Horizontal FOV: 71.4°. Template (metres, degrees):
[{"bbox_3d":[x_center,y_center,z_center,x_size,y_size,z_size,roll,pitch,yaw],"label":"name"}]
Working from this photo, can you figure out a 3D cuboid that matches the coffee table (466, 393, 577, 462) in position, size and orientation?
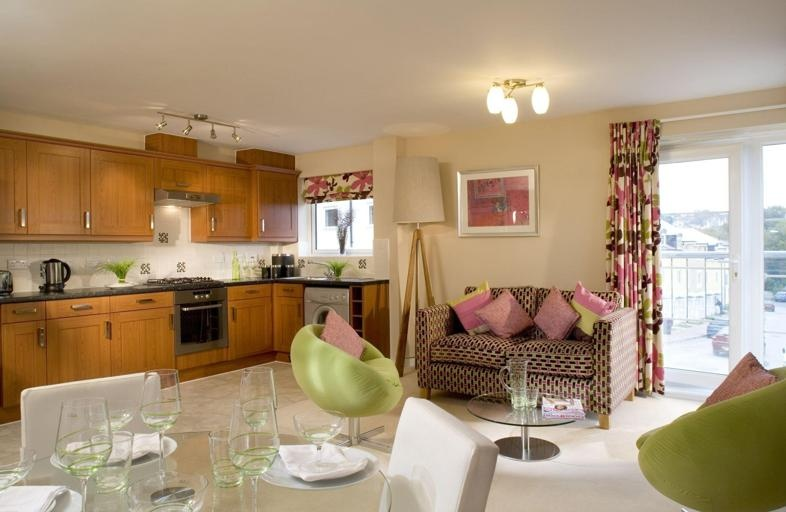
[{"bbox_3d":[1.000,1.404,4.386,0.852,0.316,0.855,2,5,34],"label":"coffee table"}]

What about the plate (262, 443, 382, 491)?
[{"bbox_3d":[-0.345,1.018,2.647,0.449,0.436,0.043,-8,44,-10],"label":"plate"}]

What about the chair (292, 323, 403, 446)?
[{"bbox_3d":[-0.412,1.162,4.869,1.069,1.024,1.101,-2,1,11],"label":"chair"}]

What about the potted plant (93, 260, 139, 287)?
[{"bbox_3d":[-3.253,0.164,6.460,0.368,0.244,0.337,-3,5,-37],"label":"potted plant"}]

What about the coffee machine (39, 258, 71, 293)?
[{"bbox_3d":[-3.676,0.208,5.944,0.293,0.345,0.293,-6,10,-31],"label":"coffee machine"}]

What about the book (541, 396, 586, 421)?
[{"bbox_3d":[1.322,1.179,4.318,0.312,0.080,0.480,1,8,13],"label":"book"}]

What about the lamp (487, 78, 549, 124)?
[{"bbox_3d":[1.156,-1.491,5.131,0.560,0.299,0.451,1,14,6],"label":"lamp"}]

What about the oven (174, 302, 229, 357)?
[{"bbox_3d":[-2.494,0.856,6.693,0.538,0.598,0.725,-8,-6,31],"label":"oven"}]

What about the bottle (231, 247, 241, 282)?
[{"bbox_3d":[-2.177,0.115,7.528,0.134,0.389,0.382,-4,9,-15],"label":"bottle"}]

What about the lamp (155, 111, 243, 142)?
[{"bbox_3d":[-2.271,-1.480,6.264,0.689,0.244,1.245,3,9,27],"label":"lamp"}]

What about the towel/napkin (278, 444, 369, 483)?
[{"bbox_3d":[-0.338,1.017,2.623,0.283,0.054,0.283,-4,-3,-29],"label":"towel/napkin"}]

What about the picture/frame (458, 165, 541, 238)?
[{"bbox_3d":[1.287,-0.652,6.463,0.948,0.727,0.041,0,0,31],"label":"picture/frame"}]

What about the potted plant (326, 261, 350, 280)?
[{"bbox_3d":[-0.782,0.190,7.447,0.262,0.177,0.257,0,-2,2],"label":"potted plant"}]
